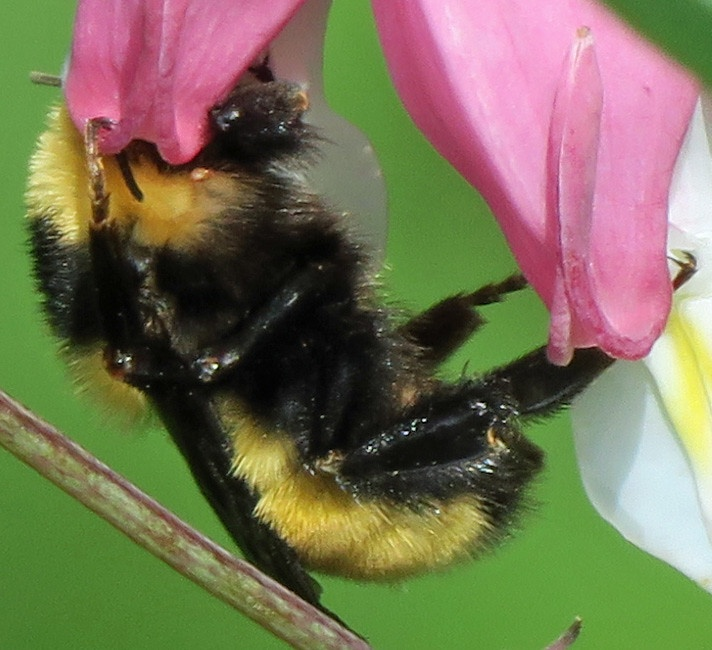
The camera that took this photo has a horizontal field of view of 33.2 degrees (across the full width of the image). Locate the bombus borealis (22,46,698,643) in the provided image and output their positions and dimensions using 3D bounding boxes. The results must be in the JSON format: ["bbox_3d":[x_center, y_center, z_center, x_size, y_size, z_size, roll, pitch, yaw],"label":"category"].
[{"bbox_3d":[-0.055,0.060,0.954,0.492,0.145,0.352,47,64,-7],"label":"bombus borealis"}]
